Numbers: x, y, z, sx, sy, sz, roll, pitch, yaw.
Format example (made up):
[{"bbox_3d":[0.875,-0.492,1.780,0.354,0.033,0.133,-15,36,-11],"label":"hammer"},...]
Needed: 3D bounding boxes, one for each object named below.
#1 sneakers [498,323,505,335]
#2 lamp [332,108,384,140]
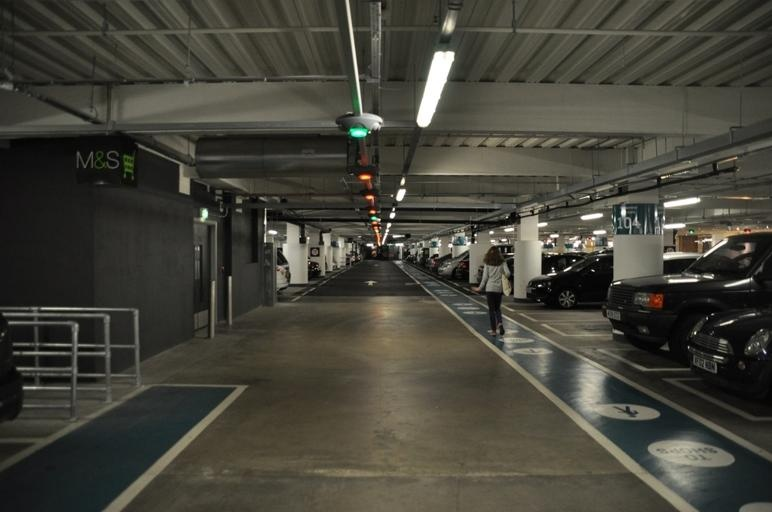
[{"bbox_3d":[2.825,1.841,13.931,0.154,0.140,0.341,-3,-42,6],"label":"sneakers"},{"bbox_3d":[-0.407,-2.012,8.782,0.658,0.375,0.551,0,11,2],"label":"lamp"}]
